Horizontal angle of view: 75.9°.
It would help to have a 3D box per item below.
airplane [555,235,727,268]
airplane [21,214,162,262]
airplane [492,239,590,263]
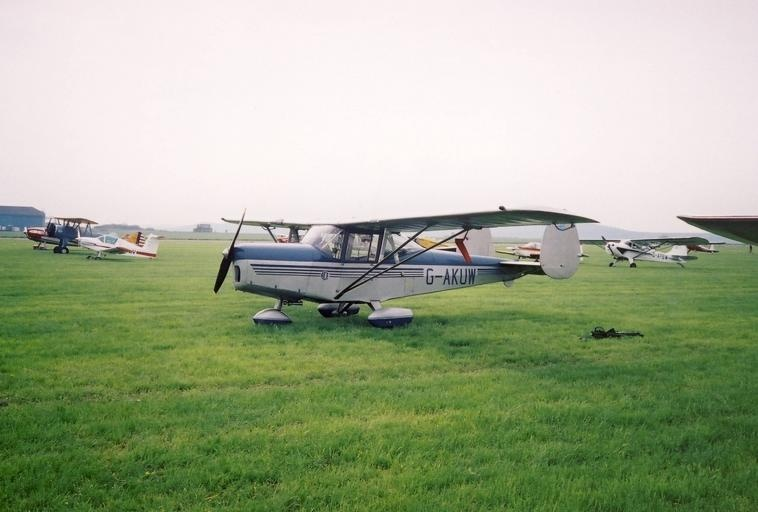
[{"bbox_3d":[18.025,-0.170,32.661,5.465,1.301,6.252,3,-2,-17],"label":"airplane"},{"bbox_3d":[-17.187,-1.075,29.168,7.828,2.303,3.011,4,8,27],"label":"airplane"},{"bbox_3d":[11.523,-0.338,37.536,4.128,0.981,4.656,4,0,-21],"label":"airplane"}]
